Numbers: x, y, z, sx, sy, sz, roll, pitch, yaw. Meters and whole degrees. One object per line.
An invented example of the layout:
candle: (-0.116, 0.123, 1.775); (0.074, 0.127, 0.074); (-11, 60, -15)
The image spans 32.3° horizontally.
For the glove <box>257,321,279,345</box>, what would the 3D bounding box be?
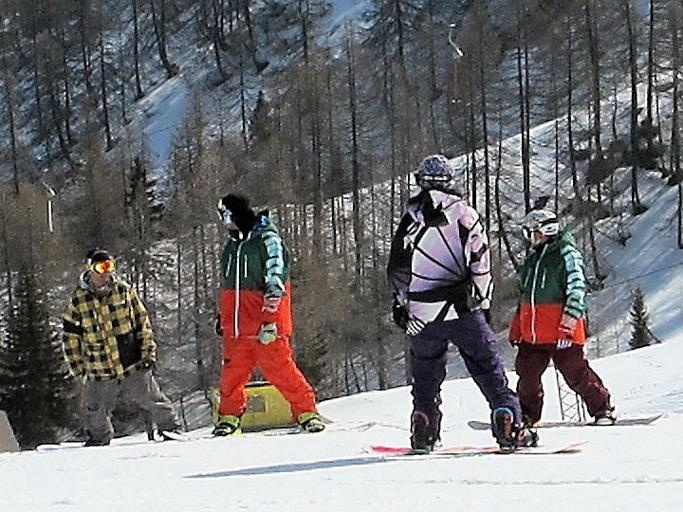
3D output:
glove: (-1.840, 1.914, 29.606); (0.369, 0.522, 0.525); (3, 6, -6)

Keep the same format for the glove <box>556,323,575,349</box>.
glove: (5.549, 2.018, 29.527); (0.196, 0.542, 0.361); (5, -2, -34)

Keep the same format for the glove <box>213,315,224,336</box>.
glove: (-3.083, 1.747, 29.954); (0.128, 0.475, 0.319); (-4, 6, 1)
